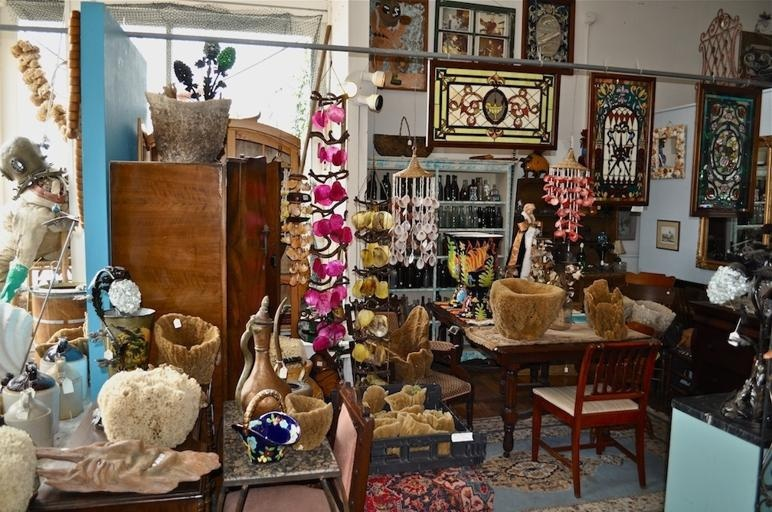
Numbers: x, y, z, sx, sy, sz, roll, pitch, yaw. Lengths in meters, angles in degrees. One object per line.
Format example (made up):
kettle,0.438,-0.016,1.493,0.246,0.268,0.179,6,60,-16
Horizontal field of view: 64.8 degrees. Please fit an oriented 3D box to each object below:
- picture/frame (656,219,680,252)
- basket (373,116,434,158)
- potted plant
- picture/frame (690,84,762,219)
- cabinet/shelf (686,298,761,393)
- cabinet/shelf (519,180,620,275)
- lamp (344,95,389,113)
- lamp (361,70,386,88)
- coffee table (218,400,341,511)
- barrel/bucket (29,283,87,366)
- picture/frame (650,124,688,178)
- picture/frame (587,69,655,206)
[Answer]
picture/frame,3.720,-0.264,7.977,0.028,0.438,0.427,0,-1,-22
basket,0.194,-1.361,7.104,0.724,0.505,0.213,-2,3,-24
potted plant,-1.133,-0.888,3.514,0.480,0.719,0.350,-2,7,-26
picture/frame,3.317,-1.002,5.893,0.818,1.224,0.165,-2,8,-29
cabinet/shelf,3.146,0.911,5.743,0.176,0.878,0.714,-2,7,-22
cabinet/shelf,1.982,-0.311,6.657,1.087,1.050,0.360,0,6,-5
lamp,-0.188,-1.512,6.100,0.187,0.183,0.452,1,9,-43
lamp,-0.106,-1.797,6.239,0.268,0.152,0.136,6,43,16
coffee table,-0.535,0.898,3.037,0.528,0.518,0.544,-2,15,-13
barrel/bucket,-1.965,0.409,3.669,0.282,0.430,0.578,-3,7,-30
picture/frame,3.658,-1.363,7.818,0.065,0.867,0.730,-3,5,-21
picture/frame,2.673,-1.290,6.835,0.847,1.432,0.262,-1,7,-21
